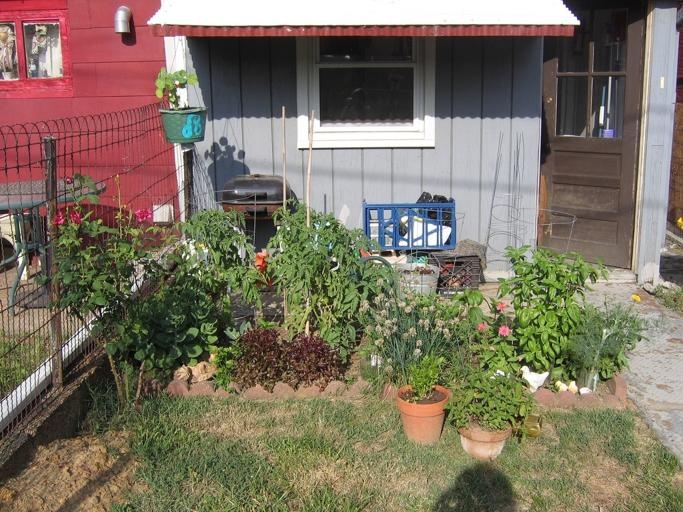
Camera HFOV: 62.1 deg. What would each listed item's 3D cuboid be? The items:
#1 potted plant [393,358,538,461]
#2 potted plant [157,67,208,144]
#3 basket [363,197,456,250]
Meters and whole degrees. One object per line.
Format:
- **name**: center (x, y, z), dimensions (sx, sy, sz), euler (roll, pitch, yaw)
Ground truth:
- **potted plant**: center (0.942, 1.135, 4.241), dimensions (0.704, 0.399, 0.769), euler (1, 14, 5)
- **potted plant**: center (-1.877, -1.748, 6.669), dimensions (0.514, 0.831, 0.975), euler (-4, 15, -17)
- **basket**: center (0.810, -0.356, 6.790), dimensions (0.876, 0.564, 0.619), euler (0, 16, 2)
